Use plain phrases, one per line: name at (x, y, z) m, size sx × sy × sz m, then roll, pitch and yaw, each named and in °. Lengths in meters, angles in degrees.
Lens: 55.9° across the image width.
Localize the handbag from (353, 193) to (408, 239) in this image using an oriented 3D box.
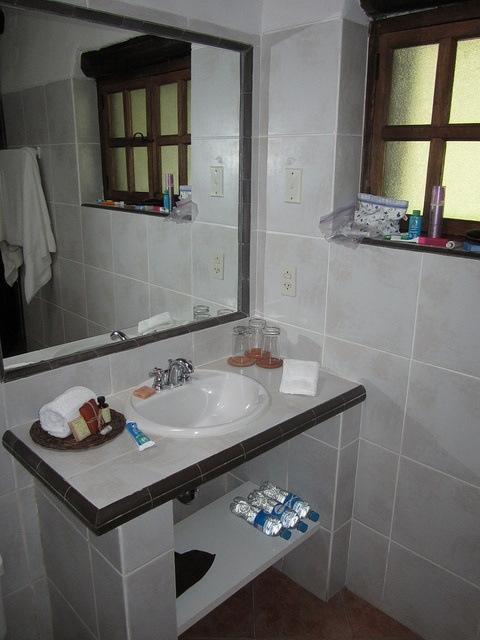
handbag at (0.434, -0.317, 1.398) m, size 0.136 × 0.170 × 0.046 m, roll 11°, pitch 12°, yaw 36°

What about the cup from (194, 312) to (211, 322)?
cup at (-0.139, -0.007, 1.650) m, size 0.038 × 0.029 × 0.041 m, roll -1°, pitch -3°, yaw 0°

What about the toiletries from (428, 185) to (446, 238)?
toiletries at (0.592, -0.321, 1.357) m, size 0.043 × 0.146 × 0.149 m, roll 7°, pitch 15°, yaw 22°

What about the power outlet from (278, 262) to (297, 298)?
power outlet at (0.177, -0.148, 1.671) m, size 0.013 × 0.161 × 0.077 m, roll -16°, pitch 24°, yaw -38°

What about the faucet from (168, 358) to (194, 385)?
faucet at (-0.194, 0.165, 1.442) m, size 0.042 × 0.102 × 0.114 m, roll -6°, pitch 8°, yaw -37°

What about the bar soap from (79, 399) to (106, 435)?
bar soap at (-0.365, 0.245, 1.121) m, size 0.021 × 0.073 × 0.063 m, roll -17°, pitch -4°, yaw 16°

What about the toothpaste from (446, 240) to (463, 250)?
toothpaste at (0.596, -0.202, 1.241) m, size 0.072 × 0.019 × 0.048 m, roll -4°, pitch 17°, yaw -24°

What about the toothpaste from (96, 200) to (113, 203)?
toothpaste at (-0.389, -0.339, 1.309) m, size 0.009 × 0.012 × 0.057 m, roll 9°, pitch 17°, yaw 28°

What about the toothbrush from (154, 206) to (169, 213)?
toothbrush at (-0.254, -0.351, 1.454) m, size 0.002 × 0.019 × 0.061 m, roll 13°, pitch 18°, yaw 43°

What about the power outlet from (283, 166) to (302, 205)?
power outlet at (0.183, -0.459, 1.562) m, size 0.022 × 0.113 × 0.082 m, roll -7°, pitch 16°, yaw -35°

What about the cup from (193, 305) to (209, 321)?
cup at (-0.142, -0.023, 1.647) m, size 0.042 × 0.097 × 0.045 m, roll 0°, pitch 12°, yaw 0°

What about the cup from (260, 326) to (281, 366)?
cup at (0.116, 0.111, 1.699) m, size 0.095 × 0.147 × 0.110 m, roll 3°, pitch 13°, yaw 15°

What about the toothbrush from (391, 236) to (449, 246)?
toothbrush at (0.524, -0.224, 1.312) m, size 0.115 × 0.022 × 0.026 m, roll 11°, pitch -9°, yaw 37°
